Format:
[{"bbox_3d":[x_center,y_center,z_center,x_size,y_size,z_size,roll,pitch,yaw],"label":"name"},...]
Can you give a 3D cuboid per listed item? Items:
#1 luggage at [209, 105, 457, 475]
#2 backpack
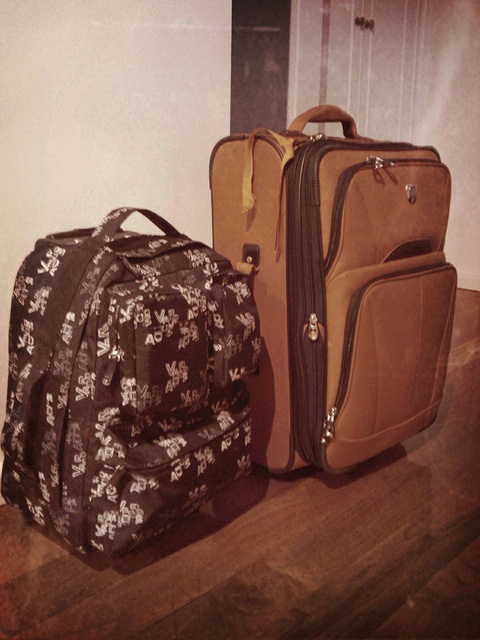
[{"bbox_3d":[0.195,-0.066,0.995,0.319,0.577,0.317,-11,24,-17],"label":"luggage"},{"bbox_3d":[-0.138,0.069,0.933,0.324,0.584,0.427,9,13,33],"label":"backpack"}]
